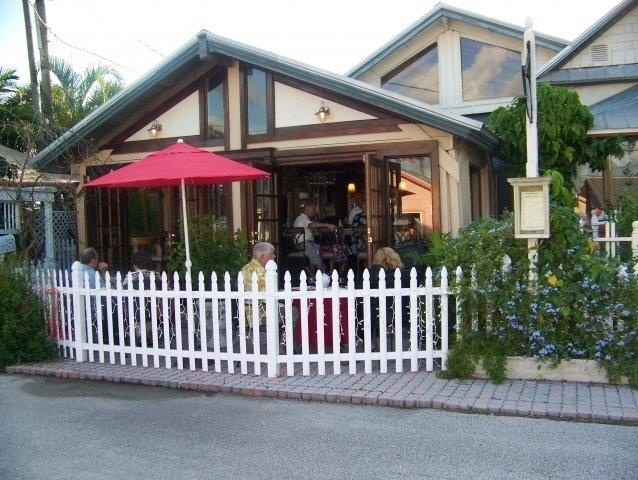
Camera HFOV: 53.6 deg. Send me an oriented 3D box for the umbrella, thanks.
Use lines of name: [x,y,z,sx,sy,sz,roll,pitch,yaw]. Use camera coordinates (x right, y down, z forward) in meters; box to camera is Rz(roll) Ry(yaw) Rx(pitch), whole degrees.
umbrella: [-1.948,-0.499,9.468,2.054,1.990,2.112,7,14,39]

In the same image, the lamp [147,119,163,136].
lamp: [-3.195,-2.195,12.377,0.230,0.410,0.279,1,-7,35]

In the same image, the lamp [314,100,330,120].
lamp: [0.080,-2.274,11.104,0.263,0.405,0.279,4,6,31]

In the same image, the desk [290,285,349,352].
desk: [0.019,1.038,8.062,0.715,0.992,0.783,-2,10,0]

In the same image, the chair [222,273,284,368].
chair: [-0.838,0.931,8.619,0.688,1.440,1.683,-3,11,-8]
